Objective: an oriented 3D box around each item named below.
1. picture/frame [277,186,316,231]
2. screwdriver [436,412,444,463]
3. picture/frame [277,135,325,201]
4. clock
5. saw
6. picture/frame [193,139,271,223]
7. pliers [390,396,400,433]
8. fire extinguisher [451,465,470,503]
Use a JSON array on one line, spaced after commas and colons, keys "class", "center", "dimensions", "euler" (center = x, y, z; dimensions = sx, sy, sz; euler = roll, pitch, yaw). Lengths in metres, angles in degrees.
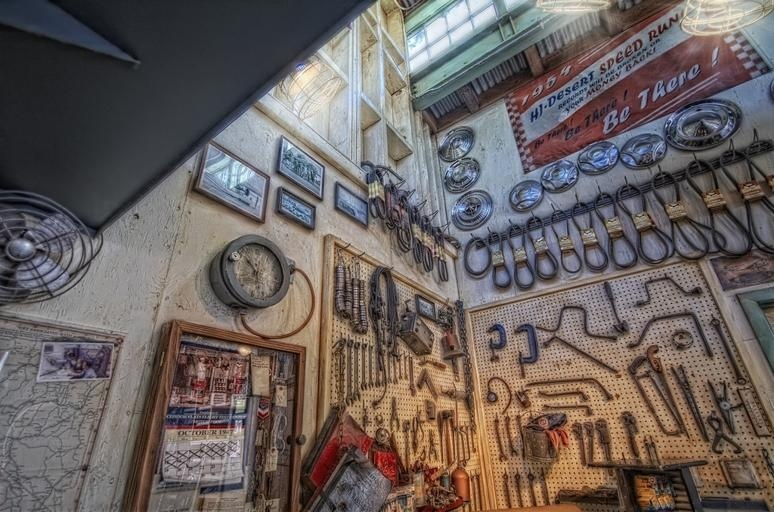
[{"class": "picture/frame", "center": [-0.641, -0.322, 2.888], "dimensions": [0.030, 0.205, 0.292], "euler": [-27, -42, 33]}, {"class": "screwdriver", "center": [0.405, 1.418, 3.313], "dimensions": [0.032, 0.285, 0.062], "euler": [-8, -8, 20]}, {"class": "picture/frame", "center": [-0.643, -0.627, 3.032], "dimensions": [0.033, 0.391, 0.472], "euler": [-28, -44, 29]}, {"class": "clock", "center": [-0.791, 0.097, 2.530], "dimensions": [0.105, 0.449, 0.442], "euler": [-12, -21, 31]}, {"class": "saw", "center": [2.152, 1.081, 3.288], "dimensions": [0.080, 0.789, 0.258], "euler": [34, -50, -24]}, {"class": "picture/frame", "center": [-0.962, -0.460, 2.626], "dimensions": [0.458, 0.386, 0.060], "euler": [24, -38, -38]}, {"class": "pliers", "center": [0.058, 1.138, 3.005], "dimensions": [0.025, 0.235, 0.117], "euler": [-22, -35, 32]}, {"class": "fire extinguisher", "center": [0.563, 1.733, 3.201], "dimensions": [0.138, 0.245, 0.141], "euler": [-2, -6, 2]}]
